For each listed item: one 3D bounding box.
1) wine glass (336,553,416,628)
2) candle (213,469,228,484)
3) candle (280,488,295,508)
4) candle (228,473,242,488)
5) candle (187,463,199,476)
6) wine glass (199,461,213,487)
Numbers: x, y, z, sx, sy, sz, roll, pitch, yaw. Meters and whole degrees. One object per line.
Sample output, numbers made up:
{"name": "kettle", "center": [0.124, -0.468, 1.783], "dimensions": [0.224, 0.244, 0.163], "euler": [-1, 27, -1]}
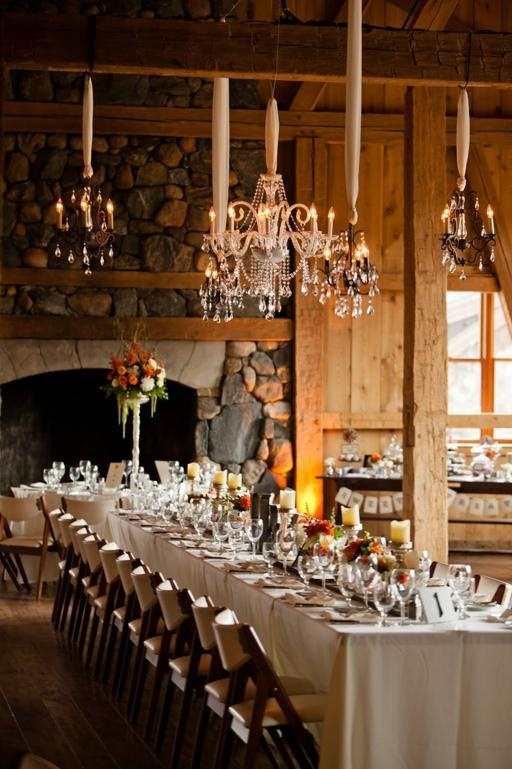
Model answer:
{"name": "wine glass", "center": [0.494, 0.774, 2.729], "dimensions": [0.240, 0.364, 0.216], "euler": [-1, 0, -21]}
{"name": "candle", "center": [-0.257, 0.690, 5.148], "dimensions": [0.082, 0.096, 0.080], "euler": [14, -14, -41]}
{"name": "candle", "center": [0.187, 0.678, 4.119], "dimensions": [0.113, 0.135, 0.115], "euler": [2, 2, -8]}
{"name": "candle", "center": [-0.156, 0.700, 4.968], "dimensions": [0.081, 0.091, 0.126], "euler": [0, 3, -8]}
{"name": "candle", "center": [-0.552, 0.723, 5.909], "dimensions": [0.098, 0.119, 0.103], "euler": [3, -1, 14]}
{"name": "wine glass", "center": [-0.477, 0.854, 6.468], "dimensions": [0.142, 0.260, 0.168], "euler": [1, 2, 2]}
